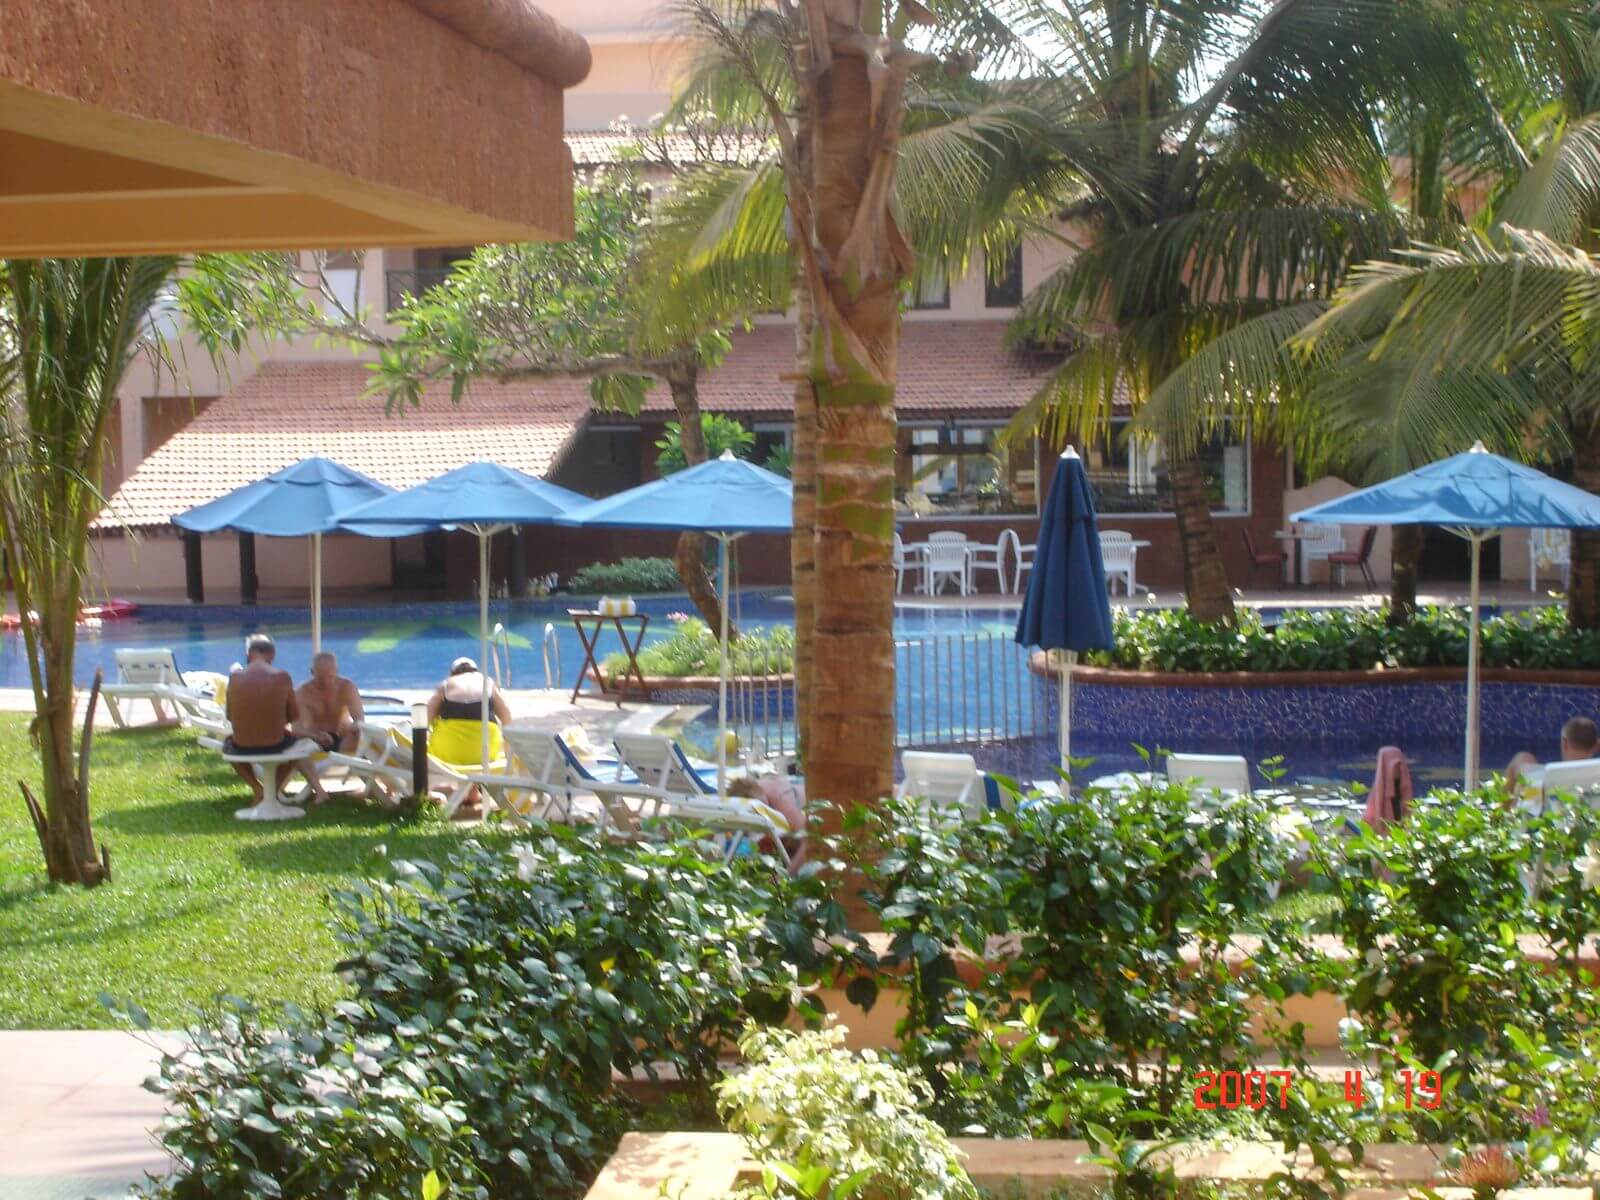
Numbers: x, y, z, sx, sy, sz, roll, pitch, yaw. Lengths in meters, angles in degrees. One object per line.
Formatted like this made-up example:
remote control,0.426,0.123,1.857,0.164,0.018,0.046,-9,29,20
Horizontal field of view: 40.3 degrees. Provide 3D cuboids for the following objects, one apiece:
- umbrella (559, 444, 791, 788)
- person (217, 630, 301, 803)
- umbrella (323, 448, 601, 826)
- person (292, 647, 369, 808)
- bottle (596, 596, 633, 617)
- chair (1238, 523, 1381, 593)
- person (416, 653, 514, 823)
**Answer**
umbrella,-0.592,-0.039,15.238,1.745,2.132,1.847,-3,4,-28
person,-3.736,0.842,15.220,0.493,1.128,0.771,-2,1,-14
umbrella,-2.424,0.241,16.383,2.128,2.748,2.304,0,0,-11
person,-3.505,1.006,16.326,0.657,1.441,0.562,-5,42,-17
bottle,-1.764,0.090,21.352,0.244,0.118,0.307,5,6,43
chair,7.053,-0.558,30.835,1.132,0.631,1.132,-2,3,-44
person,-2.349,0.970,15.571,0.586,1.018,1.117,-2,1,-10
